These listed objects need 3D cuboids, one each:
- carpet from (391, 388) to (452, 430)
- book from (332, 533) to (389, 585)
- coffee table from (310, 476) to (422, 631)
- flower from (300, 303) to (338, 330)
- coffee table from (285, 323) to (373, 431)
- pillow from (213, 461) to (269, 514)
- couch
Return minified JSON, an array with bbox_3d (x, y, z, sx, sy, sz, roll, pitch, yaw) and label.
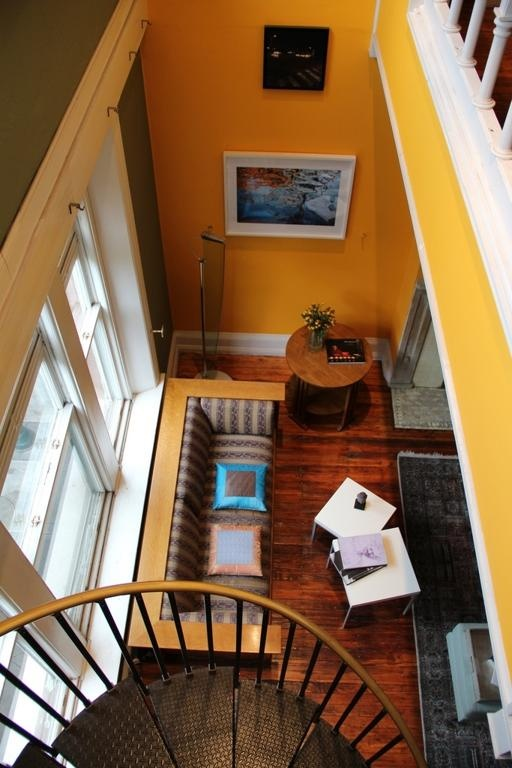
[{"bbox_3d":[1.693,0.258,5.141,0.584,0.077,0.514,1,55,0],"label":"carpet"},{"bbox_3d":[0.808,1.355,3.802,0.430,0.164,0.340,-6,55,-5],"label":"book"},{"bbox_3d":[0.695,1.273,4.092,0.438,1.023,0.759,-18,79,30],"label":"coffee table"},{"bbox_3d":[0.590,-0.631,4.652,0.270,0.224,0.332,-11,70,0],"label":"flower"},{"bbox_3d":[0.726,-0.041,4.950,0.799,0.965,1.060,1,70,1],"label":"coffee table"},{"bbox_3d":[-0.118,0.893,4.156,0.453,0.136,0.556,-1,29,-4],"label":"pillow"},{"bbox_3d":[-0.215,1.133,4.055,0.860,0.885,2.127,-4,48,5],"label":"couch"}]
